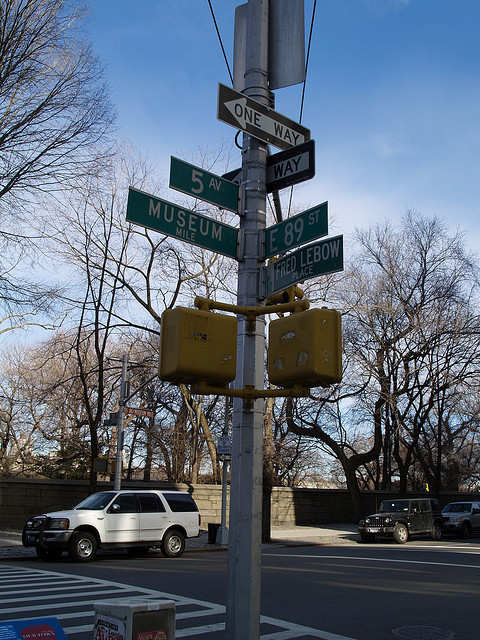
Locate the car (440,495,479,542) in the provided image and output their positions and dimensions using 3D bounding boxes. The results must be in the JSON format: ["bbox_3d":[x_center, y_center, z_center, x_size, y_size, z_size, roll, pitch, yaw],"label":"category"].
[{"bbox_3d":[8.645,7.781,28.425,1.375,1.248,2.727,-3,-9,16],"label":"car"}]

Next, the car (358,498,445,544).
[{"bbox_3d":[5.496,6.862,24.875,2.672,1.465,1.454,26,-38,-36],"label":"car"}]

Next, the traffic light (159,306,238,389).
[{"bbox_3d":[-0.239,0.171,4.556,0.442,0.536,0.176,15,-29,-25],"label":"traffic light"}]

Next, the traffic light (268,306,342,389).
[{"bbox_3d":[0.376,0.174,4.544,0.166,0.544,0.456,18,-25,-39],"label":"traffic light"}]

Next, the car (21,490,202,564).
[{"bbox_3d":[-2.703,4.588,16.213,1.173,1.550,4.073,-7,-11,39],"label":"car"}]
